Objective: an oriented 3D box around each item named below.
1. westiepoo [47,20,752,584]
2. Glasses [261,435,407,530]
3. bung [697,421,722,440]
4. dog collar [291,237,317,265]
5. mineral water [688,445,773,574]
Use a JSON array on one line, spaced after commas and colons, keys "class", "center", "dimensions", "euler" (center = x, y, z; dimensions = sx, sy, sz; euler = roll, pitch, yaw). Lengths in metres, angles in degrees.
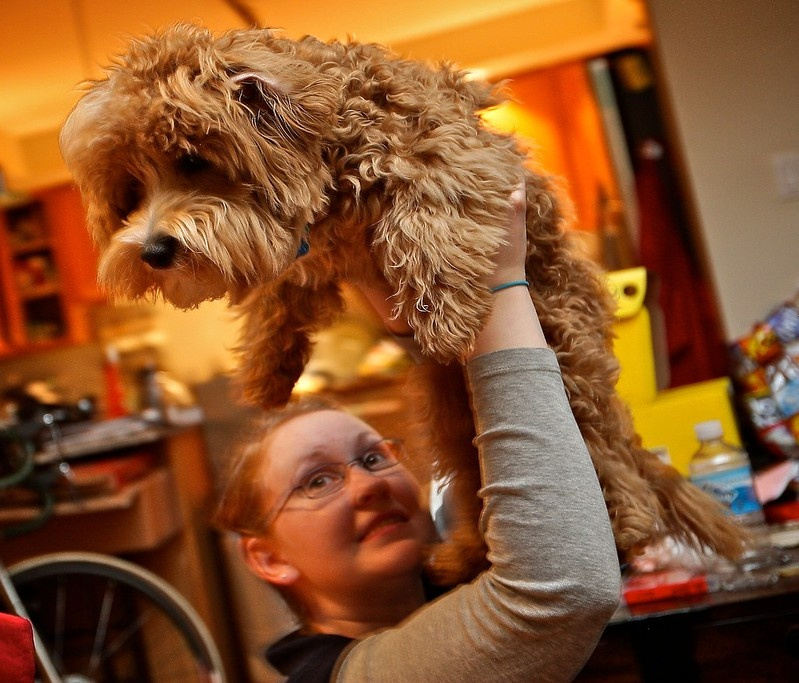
[{"class": "westiepoo", "center": [0.034, -0.048, 1.365], "dimensions": [1.180, 0.635, 0.576], "euler": [34, -26, -27]}, {"class": "Glasses", "center": [-0.091, 0.215, 1.240], "dimensions": [0.148, 0.045, 0.150], "euler": [-30, 0, 35]}, {"class": "bung", "center": [0.678, 0.188, 1.726], "dimensions": [0.046, 0.027, 0.045], "euler": [-15, 3, -30]}, {"class": "dog collar", "center": [-0.133, -0.129, 1.129], "dimensions": [0.011, 0.030, 0.023], "euler": [32, 31, 29]}, {"class": "mineral water", "center": [0.707, 0.349, 1.727], "dimensions": [0.144, 0.354, 0.141], "euler": [-13, -16, 27]}]
